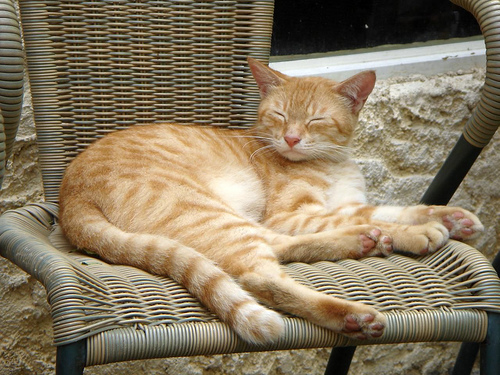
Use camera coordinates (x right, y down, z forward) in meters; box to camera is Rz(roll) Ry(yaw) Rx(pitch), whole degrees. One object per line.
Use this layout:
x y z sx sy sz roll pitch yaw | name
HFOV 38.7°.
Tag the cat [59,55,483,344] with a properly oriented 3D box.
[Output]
-0.035 0.107 2.396 1.119 0.435 1.206 14 13 31 | cat
